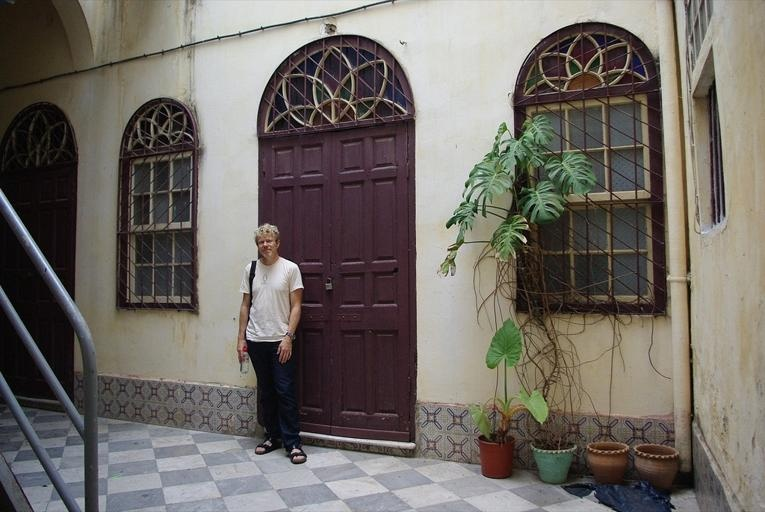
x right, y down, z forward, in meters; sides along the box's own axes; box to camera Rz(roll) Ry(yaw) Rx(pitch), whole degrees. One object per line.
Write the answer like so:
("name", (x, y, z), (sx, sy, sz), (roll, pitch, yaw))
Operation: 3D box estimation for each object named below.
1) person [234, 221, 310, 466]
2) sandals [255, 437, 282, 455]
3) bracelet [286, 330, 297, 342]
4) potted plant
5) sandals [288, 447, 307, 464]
("person", (-1.075, 0.971, 6.778), (0.871, 1.992, 0.515), (5, 9, 37))
("sandals", (-1.167, 1.940, 6.858), (0.096, 0.109, 0.269), (-9, -17, 34))
("bracelet", (-0.923, 0.796, 6.736), (0.095, 0.062, 0.100), (-6, -3, -26))
("potted plant", (1.128, 1.304, 6.176), (0.658, 1.451, 0.751), (0, 7, 7))
("sandals", (-0.834, 1.934, 6.558), (0.173, 0.114, 0.199), (-2, 7, -10))
